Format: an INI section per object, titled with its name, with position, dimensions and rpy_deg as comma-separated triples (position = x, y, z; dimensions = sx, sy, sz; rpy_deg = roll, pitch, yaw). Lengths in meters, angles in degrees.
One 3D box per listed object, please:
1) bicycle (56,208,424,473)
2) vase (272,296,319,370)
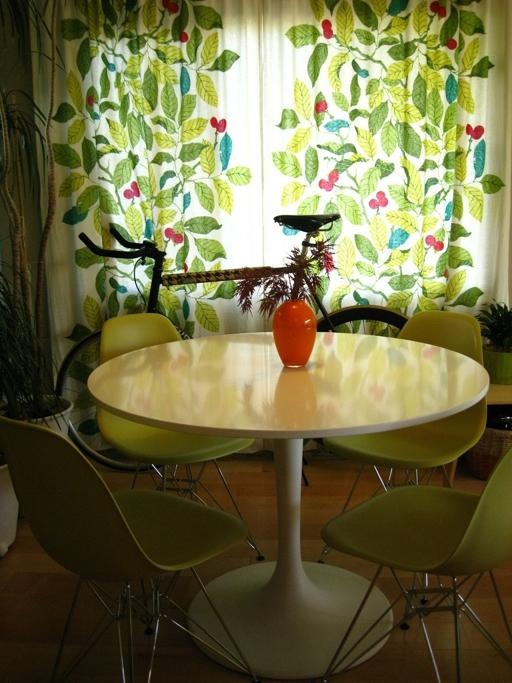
[bicycle]
position = -0.038, -0.038, 2.483
dimensions = 1.564, 0.971, 0.602
rpy_deg = -2, 12, 0
[vase]
position = 0.104, -0.021, 1.489
dimensions = 0.126, 0.164, 0.130
rpy_deg = 4, 7, 42
